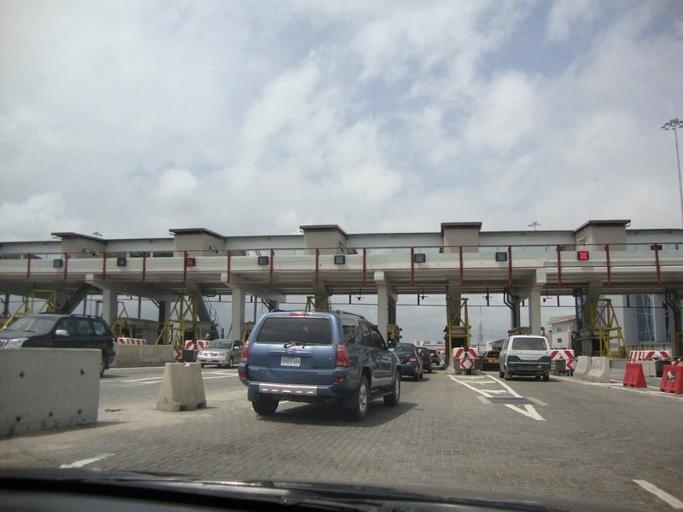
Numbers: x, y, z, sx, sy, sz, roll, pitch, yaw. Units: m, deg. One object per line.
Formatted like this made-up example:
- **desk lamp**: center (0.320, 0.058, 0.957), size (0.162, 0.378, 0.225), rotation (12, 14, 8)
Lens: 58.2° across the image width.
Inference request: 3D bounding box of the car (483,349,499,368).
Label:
- **car**: center (8.905, 6.200, 36.488), size (0.903, 1.133, 1.919), rotation (-1, -7, 16)

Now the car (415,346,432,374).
- **car**: center (4.748, 5.733, 35.038), size (1.288, 1.356, 2.930), rotation (-2, -26, 7)

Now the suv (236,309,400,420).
- **suv**: center (-0.099, 2.255, 13.277), size (2.026, 1.809, 3.887), rotation (-3, -8, 22)

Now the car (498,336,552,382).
- **car**: center (7.879, 4.309, 26.165), size (1.914, 1.869, 1.967), rotation (-1, -7, 17)
